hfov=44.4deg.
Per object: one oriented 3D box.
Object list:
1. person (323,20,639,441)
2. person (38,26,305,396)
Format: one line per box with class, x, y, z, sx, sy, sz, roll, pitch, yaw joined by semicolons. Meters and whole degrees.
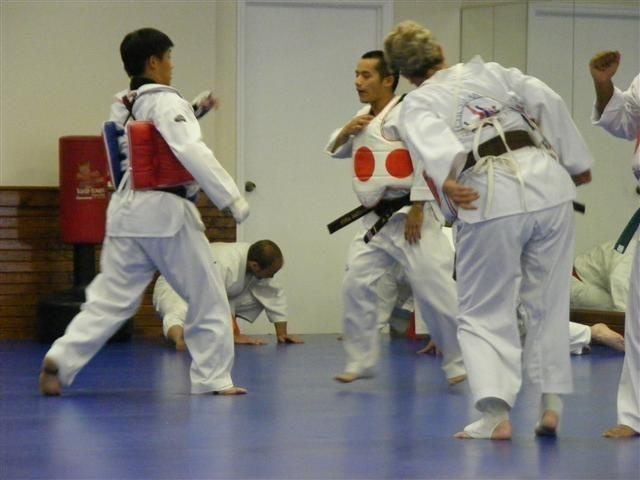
person;0.733;-0.070;3.445;0.860;1.769;0.659;1;3;19
person;-0.847;-0.157;3.990;1.007;1.880;0.349;0;3;5
